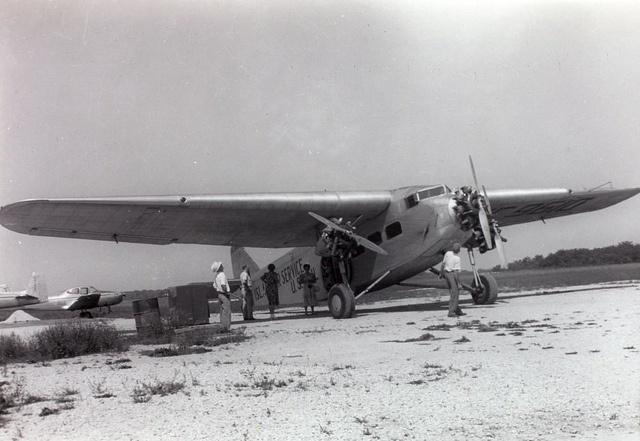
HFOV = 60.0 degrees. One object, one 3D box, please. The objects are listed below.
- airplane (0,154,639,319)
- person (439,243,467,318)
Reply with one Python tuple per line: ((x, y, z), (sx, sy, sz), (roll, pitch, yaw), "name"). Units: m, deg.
((0.411, 0.597, 15.851), (16.374, 4.257, 4.827), (-3, 3, -13), "airplane")
((3.414, 1.528, 14.298), (0.545, 1.833, 1.175), (-2, 3, 13), "person")
